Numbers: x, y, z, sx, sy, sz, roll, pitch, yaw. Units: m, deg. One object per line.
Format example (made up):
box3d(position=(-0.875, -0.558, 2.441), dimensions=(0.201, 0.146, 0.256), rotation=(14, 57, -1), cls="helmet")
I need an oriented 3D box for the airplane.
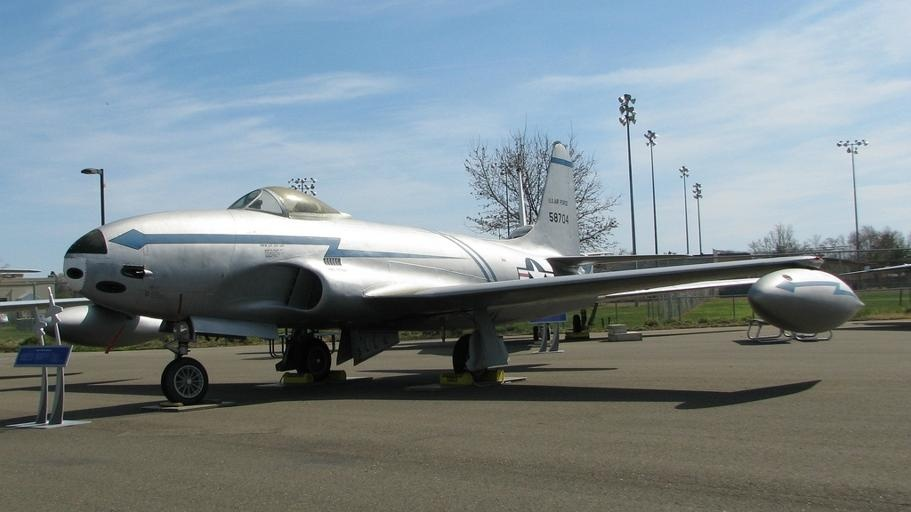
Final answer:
box3d(position=(0.241, 0.399, 19.789), dimensions=(23.821, 5.368, 12.401), rotation=(-1, -3, -2), cls="airplane")
